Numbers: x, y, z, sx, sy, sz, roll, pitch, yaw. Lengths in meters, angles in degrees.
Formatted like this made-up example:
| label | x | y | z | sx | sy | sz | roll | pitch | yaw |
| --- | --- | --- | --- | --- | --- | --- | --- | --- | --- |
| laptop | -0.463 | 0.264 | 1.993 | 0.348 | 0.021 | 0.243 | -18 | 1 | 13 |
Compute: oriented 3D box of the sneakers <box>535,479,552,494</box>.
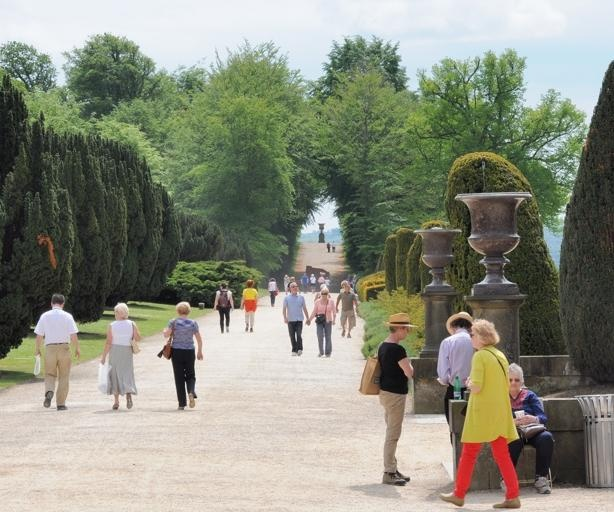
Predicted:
| label | x | y | z | sx | sy | sz | roll | pitch | yaw |
| --- | --- | --- | --- | --- | --- | --- | --- | --- | --- |
| sneakers | 3.335 | 3.260 | 18.086 | 0.208 | 0.227 | 0.190 | 0 | -3 | 10 |

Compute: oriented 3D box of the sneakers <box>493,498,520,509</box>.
| label | x | y | z | sx | sy | sz | roll | pitch | yaw |
| --- | --- | --- | --- | --- | --- | --- | --- | --- | --- |
| sneakers | 2.717 | 3.369 | 17.329 | 0.418 | 0.168 | 0.136 | 2 | -5 | 9 |

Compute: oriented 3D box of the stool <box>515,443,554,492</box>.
| label | x | y | z | sx | sy | sz | roll | pitch | yaw |
| --- | --- | --- | --- | --- | --- | --- | --- | --- | --- |
| stool | 3.282 | 3.139 | 18.495 | 0.723 | 0.667 | 0.467 | -9 | 7 | -44 |

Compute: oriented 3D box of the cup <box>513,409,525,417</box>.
| label | x | y | z | sx | sy | sz | roll | pitch | yaw |
| --- | --- | --- | --- | --- | --- | --- | --- | --- | --- |
| cup | 3.056 | 2.281 | 18.437 | 0.106 | 0.073 | 0.103 | -2 | -1 | 0 |

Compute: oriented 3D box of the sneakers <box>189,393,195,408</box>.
| label | x | y | z | sx | sy | sz | roll | pitch | yaw |
| --- | --- | --- | --- | --- | --- | --- | --- | --- | --- |
| sneakers | -2.085 | 2.633 | 23.011 | 0.103 | 0.204 | 0.100 | -2 | 5 | 3 |

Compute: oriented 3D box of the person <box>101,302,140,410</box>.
| label | x | y | z | sx | sy | sz | roll | pitch | yaw |
| --- | --- | --- | --- | --- | --- | --- | --- | --- | --- |
| person | -3.442 | 1.839 | 23.530 | 0.676 | 1.952 | 1.300 | 1 | -3 | -7 |

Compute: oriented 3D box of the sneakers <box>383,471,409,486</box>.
| label | x | y | z | sx | sy | sz | roll | pitch | yaw |
| --- | --- | --- | --- | --- | --- | --- | --- | --- | --- |
| sneakers | 1.284 | 3.239 | 18.513 | 0.388 | 0.186 | 0.162 | 0 | -3 | -4 |

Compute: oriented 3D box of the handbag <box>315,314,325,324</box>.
| label | x | y | z | sx | sy | sz | roll | pitch | yaw |
| --- | --- | --- | --- | --- | --- | --- | --- | --- | --- |
| handbag | 0.332 | 1.538 | 30.985 | 0.165 | 0.225 | 0.261 | 8 | 24 | 17 |

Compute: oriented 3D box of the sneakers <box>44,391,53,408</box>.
| label | x | y | z | sx | sy | sz | roll | pitch | yaw |
| --- | --- | --- | --- | --- | --- | --- | --- | --- | --- |
| sneakers | -4.697 | 2.625 | 23.174 | 0.128 | 0.259 | 0.253 | 11 | 6 | -8 |

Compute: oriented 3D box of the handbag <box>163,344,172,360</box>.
| label | x | y | z | sx | sy | sz | roll | pitch | yaw |
| --- | --- | --- | --- | --- | --- | --- | --- | --- | --- |
| handbag | -2.566 | 1.755 | 23.414 | 0.154 | 0.243 | 0.287 | 1 | -3 | -6 |

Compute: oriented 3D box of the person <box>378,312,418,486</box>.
| label | x | y | z | sx | sy | sz | roll | pitch | yaw |
| --- | --- | --- | --- | --- | --- | --- | --- | --- | --- |
| person | 1.277 | 2.093 | 18.715 | 0.514 | 2.495 | 0.447 | 0 | -3 | 4 |

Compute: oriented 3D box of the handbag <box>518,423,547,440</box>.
| label | x | y | z | sx | sy | sz | roll | pitch | yaw |
| --- | --- | --- | --- | --- | --- | --- | --- | --- | --- |
| handbag | 3.211 | 2.524 | 18.353 | 0.265 | 0.091 | 0.261 | -2 | -1 | -32 |

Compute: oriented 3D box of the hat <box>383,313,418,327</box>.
| label | x | y | z | sx | sy | sz | roll | pitch | yaw |
| --- | --- | --- | --- | --- | --- | --- | --- | --- | --- |
| hat | 1.309 | 0.971 | 18.777 | 0.307 | 0.127 | 0.345 | 4 | -9 | -33 |

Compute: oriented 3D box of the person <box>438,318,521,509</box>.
| label | x | y | z | sx | sy | sz | roll | pitch | yaw |
| --- | --- | --- | --- | --- | --- | --- | --- | --- | --- |
| person | 2.452 | 2.177 | 17.574 | 0.906 | 2.565 | 0.399 | 0 | -3 | 6 |
